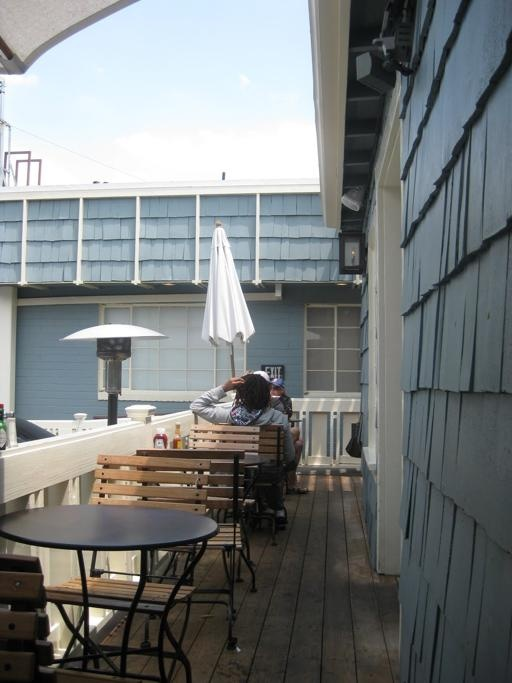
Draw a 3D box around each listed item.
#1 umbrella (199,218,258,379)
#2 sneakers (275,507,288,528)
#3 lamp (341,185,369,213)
[{"bbox_3d":[-0.268,-0.525,5.922,0.368,1.125,0.525,-1,-2,20],"label":"umbrella"},{"bbox_3d":[0.216,1.423,5.136,0.125,0.181,0.179,0,-14,5],"label":"sneakers"},{"bbox_3d":[0.753,-1.089,4.873,0.175,0.228,0.360,-1,-2,9],"label":"lamp"}]
